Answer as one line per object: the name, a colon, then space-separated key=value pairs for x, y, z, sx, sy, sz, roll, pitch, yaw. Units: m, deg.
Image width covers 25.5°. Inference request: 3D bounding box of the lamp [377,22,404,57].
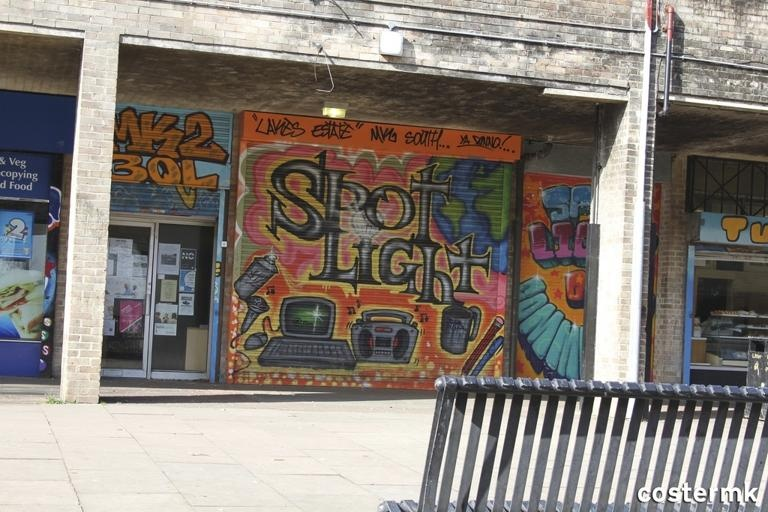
lamp: x=0.105 y=-3.870 z=30.450 sx=0.455 sy=0.585 sz=0.149 roll=4 pitch=-4 yaw=-2
